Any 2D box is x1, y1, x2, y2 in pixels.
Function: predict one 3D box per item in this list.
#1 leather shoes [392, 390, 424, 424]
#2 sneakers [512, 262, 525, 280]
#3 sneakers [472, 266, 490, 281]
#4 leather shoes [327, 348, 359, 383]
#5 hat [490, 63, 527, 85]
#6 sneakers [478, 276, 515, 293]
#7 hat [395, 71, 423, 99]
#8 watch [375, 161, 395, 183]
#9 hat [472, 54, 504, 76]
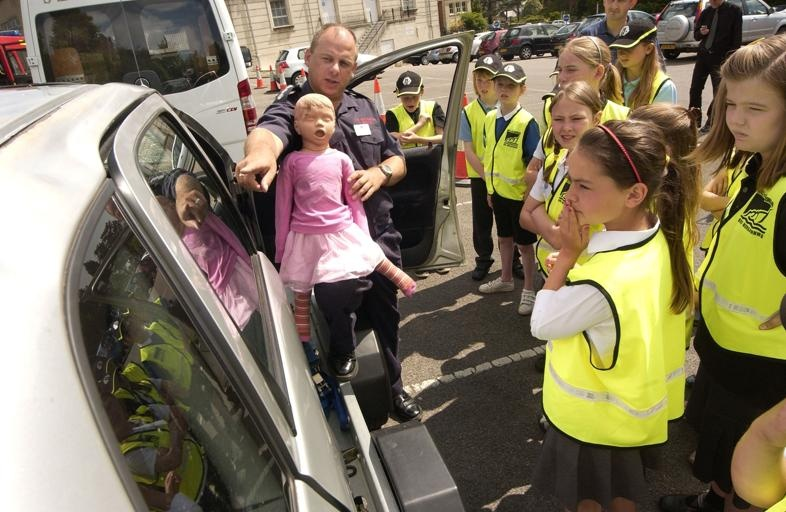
[{"bbox_3d":[0.071,0.892,3.347,0.115,0.098,0.252,-16,21,-35],"label":"leather shoes"},{"bbox_3d":[1.086,0.128,4.983,0.065,0.067,0.172,-7,32,0],"label":"sneakers"},{"bbox_3d":[0.759,0.158,4.976,0.076,0.083,0.203,4,6,29],"label":"sneakers"},{"bbox_3d":[-0.250,0.556,2.898,0.090,0.071,0.174,-7,20,-11],"label":"leather shoes"},{"bbox_3d":[0.897,-1.351,4.275,0.164,0.120,0.235,16,12,30],"label":"hat"},{"bbox_3d":[0.832,0.239,4.737,0.332,0.129,0.111,0,39,7],"label":"sneakers"},{"bbox_3d":[0.156,-1.616,5.368,0.197,0.160,0.295,-2,25,9],"label":"hat"},{"bbox_3d":[-0.037,-0.460,3.153,0.069,0.108,0.105,-25,-15,-37],"label":"watch"},{"bbox_3d":[0.798,-1.622,4.763,0.250,0.177,0.352,6,29,24],"label":"hat"}]
